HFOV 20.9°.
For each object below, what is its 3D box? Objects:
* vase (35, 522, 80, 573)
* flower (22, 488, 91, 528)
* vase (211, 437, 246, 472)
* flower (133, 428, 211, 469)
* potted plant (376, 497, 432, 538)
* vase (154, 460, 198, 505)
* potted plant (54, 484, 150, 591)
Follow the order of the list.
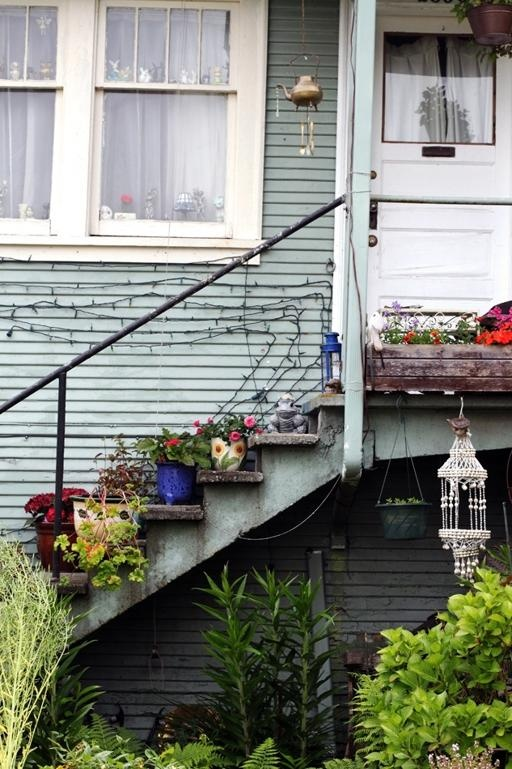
[{"bbox_3d":[-0.929,0.753,6.475,0.212,0.208,0.224,0,-4,-5],"label":"vase"},{"bbox_3d":[-0.974,0.575,6.609,0.199,0.133,0.230,7,-16,-38],"label":"flower"},{"bbox_3d":[-0.136,0.326,6.534,0.149,0.139,0.135,1,0,-23],"label":"vase"},{"bbox_3d":[-0.356,0.329,6.510,0.225,0.107,0.232,3,-9,23],"label":"flower"},{"bbox_3d":[0.659,0.585,6.156,0.185,0.125,0.191,0,-1,3],"label":"potted plant"},{"bbox_3d":[-0.391,0.451,6.510,0.175,0.156,0.183,1,-7,-3],"label":"vase"},{"bbox_3d":[-0.690,0.689,6.149,0.393,0.403,0.445,-1,-2,-6],"label":"potted plant"}]
